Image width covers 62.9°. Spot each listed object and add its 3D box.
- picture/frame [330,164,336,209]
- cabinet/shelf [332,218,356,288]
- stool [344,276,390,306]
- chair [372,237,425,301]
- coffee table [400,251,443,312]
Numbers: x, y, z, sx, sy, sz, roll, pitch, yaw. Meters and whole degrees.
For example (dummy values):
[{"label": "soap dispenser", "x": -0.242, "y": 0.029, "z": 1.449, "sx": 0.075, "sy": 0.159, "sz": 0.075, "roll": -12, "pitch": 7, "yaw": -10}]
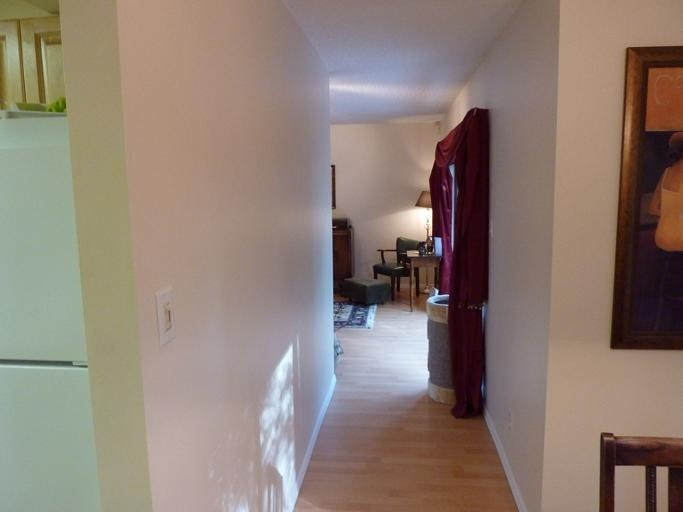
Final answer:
[{"label": "picture/frame", "x": -0.096, "y": -0.950, "z": 7.631, "sx": 0.044, "sy": 0.607, "sz": 0.057, "roll": -3, "pitch": 10, "yaw": -20}, {"label": "cabinet/shelf", "x": 0.035, "y": -0.004, "z": 7.607, "sx": 0.274, "sy": 1.008, "sz": 0.287, "roll": 0, "pitch": 10, "yaw": 1}, {"label": "stool", "x": 0.346, "y": 0.336, "z": 6.918, "sx": 0.319, "sy": 0.251, "sz": 0.468, "roll": -3, "pitch": 8, "yaw": -25}, {"label": "chair", "x": 0.735, "y": 0.133, "z": 7.293, "sx": 0.524, "sy": 0.773, "sz": 0.596, "roll": 0, "pitch": 6, "yaw": -12}, {"label": "coffee table", "x": 0.938, "y": 0.277, "z": 6.844, "sx": 0.425, "sy": 0.668, "sz": 0.915, "roll": -1, "pitch": 9, "yaw": -6}]
